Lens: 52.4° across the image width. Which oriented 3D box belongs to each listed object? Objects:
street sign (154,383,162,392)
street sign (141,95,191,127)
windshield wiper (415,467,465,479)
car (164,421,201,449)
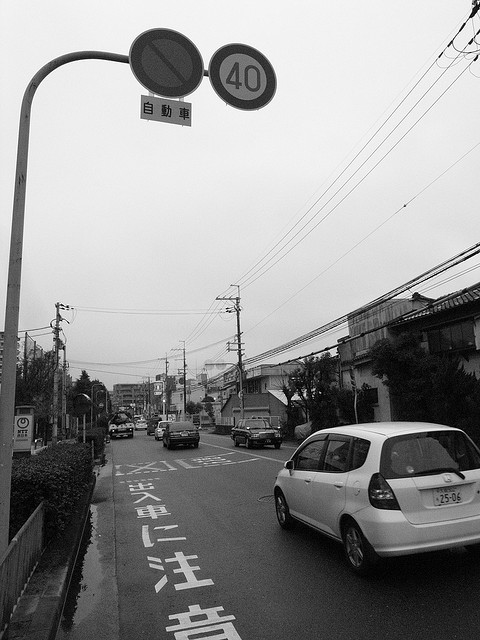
[{"bbox_3d":[-14.817,11.643,87.986,1.206,2.044,1.598,0,-6,-5],"label":"street sign"},{"bbox_3d":[-0.723,-2.073,4.762,0.482,0.266,0.118,2,-7,-17],"label":"street sign"},{"bbox_3d":[1.982,1.497,4.783,0.453,0.105,0.069,2,-7,-13],"label":"windshield wiper"},{"bbox_3d":[-3.109,6.167,26.286,1.768,1.376,1.506,1,-9,-8],"label":"car"}]
